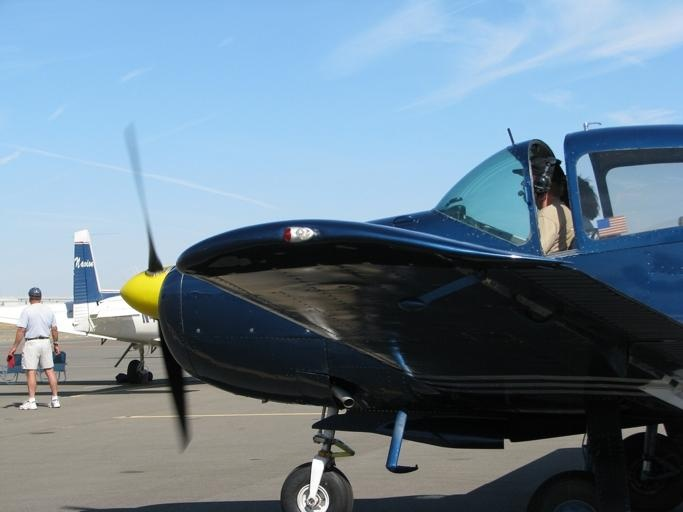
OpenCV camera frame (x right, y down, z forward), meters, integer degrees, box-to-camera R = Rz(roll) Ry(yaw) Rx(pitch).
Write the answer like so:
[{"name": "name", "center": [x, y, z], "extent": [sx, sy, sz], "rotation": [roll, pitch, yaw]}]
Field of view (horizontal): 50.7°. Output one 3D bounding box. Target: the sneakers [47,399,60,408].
[{"name": "sneakers", "center": [-4.962, 2.542, 12.415], "extent": [0.234, 0.077, 0.260], "rotation": [5, -2, -29]}]

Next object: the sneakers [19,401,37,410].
[{"name": "sneakers", "center": [-5.397, 2.552, 12.322], "extent": [0.491, 0.132, 0.185], "rotation": [-2, -13, 27]}]

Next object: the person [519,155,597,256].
[{"name": "person", "center": [1.706, -0.414, 5.919], "extent": [0.713, 0.696, 0.316], "rotation": [-5, -12, -3]}]
